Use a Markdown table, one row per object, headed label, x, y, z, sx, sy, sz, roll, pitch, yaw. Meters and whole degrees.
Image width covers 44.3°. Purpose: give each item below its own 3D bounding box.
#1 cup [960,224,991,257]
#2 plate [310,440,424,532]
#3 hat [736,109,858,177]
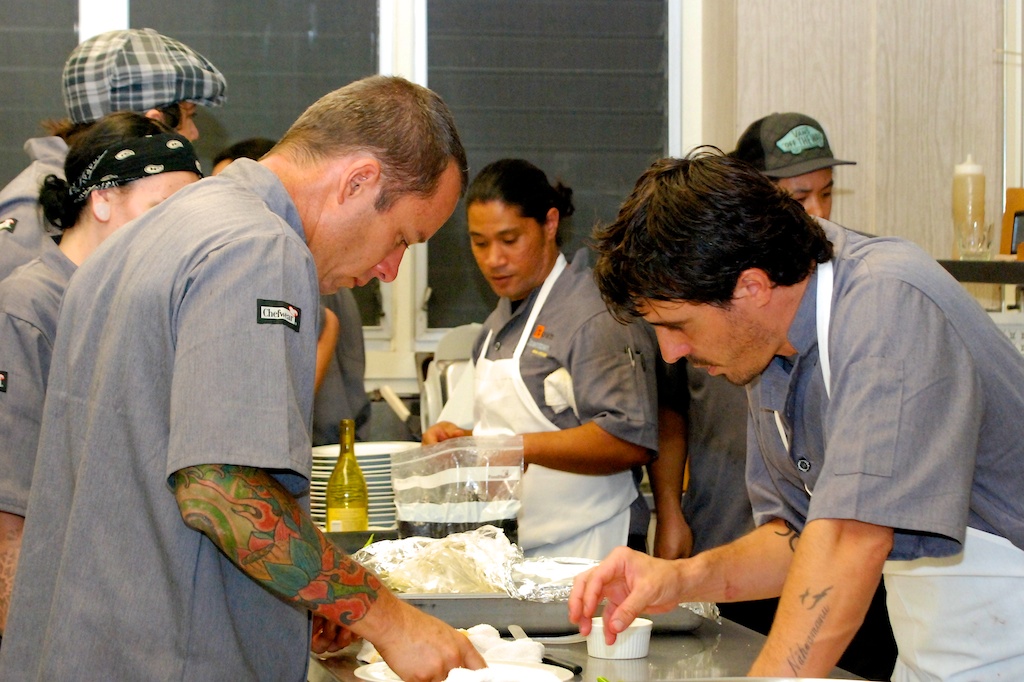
| label | x | y | z | sx | sy | sz | roll | pitch | yaw |
| --- | --- | --- | --- | --- | --- | --- | --- | --- | --- |
| cup | 1.472 | -0.315 | 4.018 | 0.096 | 0.116 | 0.096 | 0 | -4 | 0 |
| plate | -0.478 | 0.468 | 3.872 | 0.265 | 0.179 | 0.286 | 0 | -9 | -1 |
| hat | 0.821 | -0.561 | 3.808 | 0.294 | 0.192 | 0.420 | -13 | 11 | -30 |
